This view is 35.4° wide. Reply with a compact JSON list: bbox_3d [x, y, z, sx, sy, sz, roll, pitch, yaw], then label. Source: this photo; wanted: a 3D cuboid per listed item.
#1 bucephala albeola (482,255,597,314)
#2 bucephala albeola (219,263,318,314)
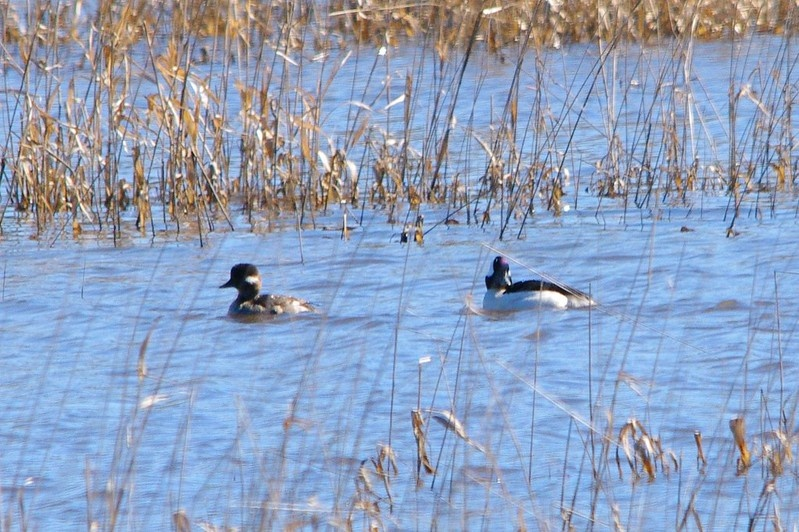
[{"bbox_3d":[1.313,0.276,11.877,1.161,0.684,0.492,-1,1,1],"label":"bucephala albeola"},{"bbox_3d":[-1.251,0.292,11.775,0.878,0.614,0.448,-2,15,-26],"label":"bucephala albeola"}]
